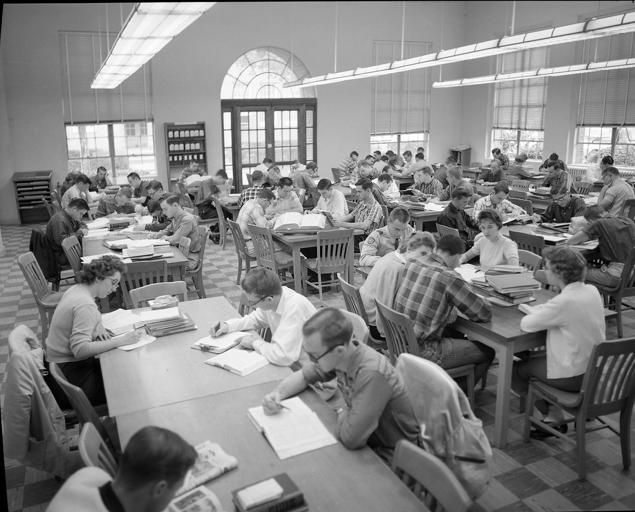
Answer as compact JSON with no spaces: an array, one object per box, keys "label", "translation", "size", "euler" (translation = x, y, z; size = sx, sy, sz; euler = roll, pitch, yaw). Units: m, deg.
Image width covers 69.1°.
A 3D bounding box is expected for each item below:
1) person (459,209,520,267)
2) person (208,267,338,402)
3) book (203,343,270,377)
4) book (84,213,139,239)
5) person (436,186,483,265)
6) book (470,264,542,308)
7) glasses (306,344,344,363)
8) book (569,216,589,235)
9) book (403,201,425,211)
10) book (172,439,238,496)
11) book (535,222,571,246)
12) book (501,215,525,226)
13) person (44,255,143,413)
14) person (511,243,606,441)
[{"label":"person","translation":[2.020,-0.197,5.400],"size":[0.297,1.020,0.601],"euler":[-18,19,-30]},{"label":"person","translation":[-0.311,0.408,3.207],"size":[0.719,1.094,0.577],"euler":[-12,10,-18]},{"label":"book","translation":[-0.513,0.681,3.001],"size":[0.367,0.049,0.270],"euler":[5,14,35]},{"label":"book","translation":[-3.309,-0.455,7.155],"size":[0.514,0.138,0.511],"euler":[-19,23,-37]},{"label":"person","translation":[2.151,-0.382,6.793],"size":[0.664,1.296,0.578],"euler":[13,31,32]},{"label":"book","translation":[1.668,0.258,3.922],"size":[0.406,0.136,0.410],"euler":[-9,24,-30]},{"label":"glasses","translation":[0.046,0.459,2.273],"size":[0.135,0.045,0.137],"euler":[-28,10,-16]},{"label":"book","translation":[3.363,-0.384,5.896],"size":[0.265,0.334,0.112],"euler":[-4,15,-17]},{"label":"book","translation":[1.655,-0.863,7.932],"size":[0.434,0.196,0.153],"euler":[5,13,30]},{"label":"book","translation":[-0.505,0.944,2.064],"size":[0.185,0.034,0.142],"euler":[-16,32,-39]},{"label":"book","translation":[3.027,-0.295,5.913],"size":[0.391,0.105,0.421],"euler":[-6,17,-16]},{"label":"book","translation":[2.787,-0.504,6.546],"size":[0.369,0.169,0.145],"euler":[-6,10,3]},{"label":"person","translation":[-1.673,0.582,3.459],"size":[0.550,1.046,0.474],"euler":[-14,48,-34]},{"label":"person","translation":[1.736,0.523,3.317],"size":[0.575,1.133,0.411],"euler":[5,14,33]}]
